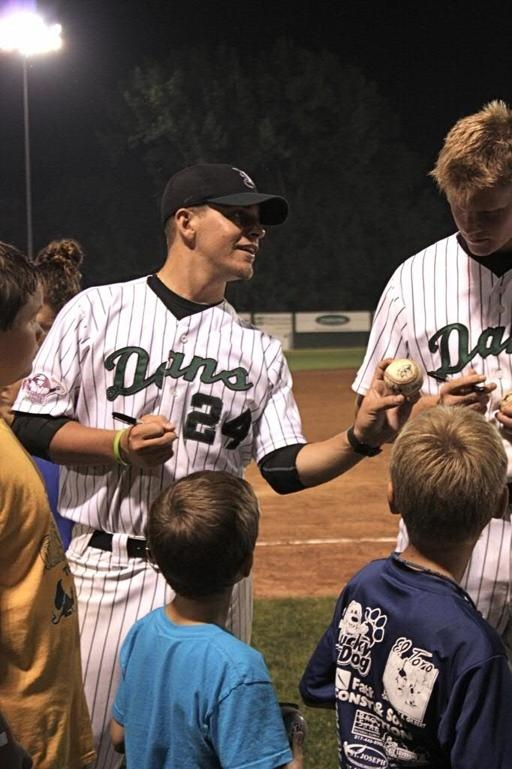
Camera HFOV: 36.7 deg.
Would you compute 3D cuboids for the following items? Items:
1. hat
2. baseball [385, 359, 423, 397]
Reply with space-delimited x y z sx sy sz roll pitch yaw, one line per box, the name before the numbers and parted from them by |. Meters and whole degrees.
hat | -0.115 -0.664 2.709 0.395 0.171 0.237 -6 2 15
baseball | 0.446 -0.026 2.403 0.124 0.097 0.111 -2 20 -10
